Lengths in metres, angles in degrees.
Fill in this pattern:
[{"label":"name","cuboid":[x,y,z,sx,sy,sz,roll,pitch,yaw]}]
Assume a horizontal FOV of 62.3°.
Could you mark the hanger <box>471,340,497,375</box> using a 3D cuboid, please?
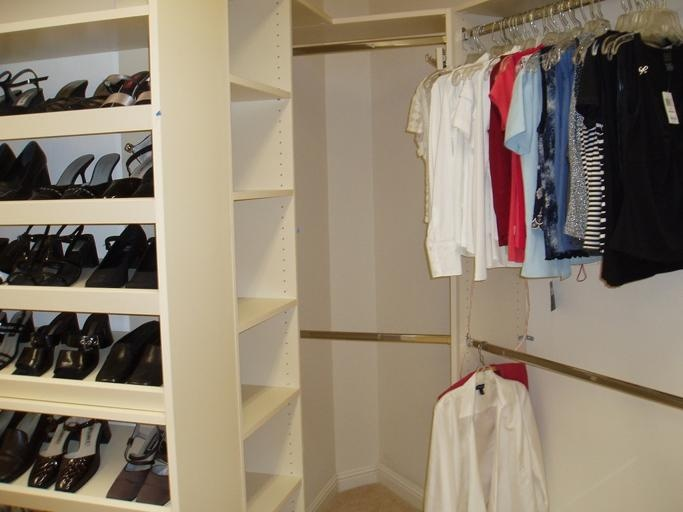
[{"label":"hanger","cuboid":[0.642,0.454,2.568,0.036,0.150,0.124,1,-5,40]}]
